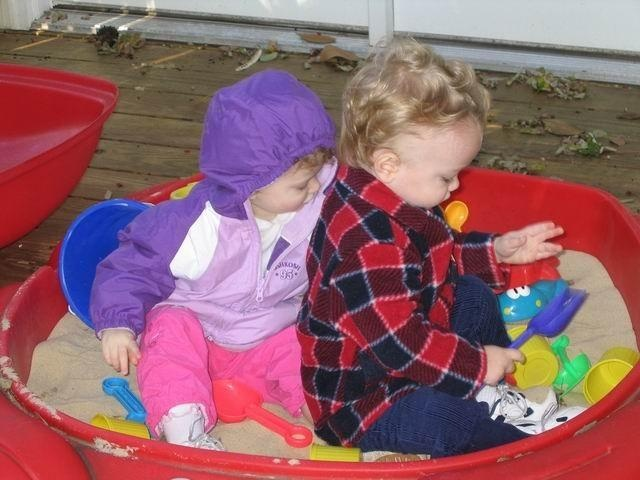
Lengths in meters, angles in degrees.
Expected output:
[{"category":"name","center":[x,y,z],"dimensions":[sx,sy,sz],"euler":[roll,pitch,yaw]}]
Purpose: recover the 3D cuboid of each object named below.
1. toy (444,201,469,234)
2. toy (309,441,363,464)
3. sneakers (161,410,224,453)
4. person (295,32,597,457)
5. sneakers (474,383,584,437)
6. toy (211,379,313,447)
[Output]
[{"category":"toy","center":[0.395,-0.067,1.744],"dimensions":[0.074,0.090,0.020],"euler":[3,15,0]},{"category":"toy","center":[0.030,0.402,1.142],"dimensions":[0.096,0.020,0.056],"euler":[4,17,-1]},{"category":"sneakers","center":[-0.265,0.378,1.226],"dimensions":[0.100,0.044,0.104],"euler":[-3,57,-11]},{"category":"person","center":[0.266,0.026,1.224],"dimensions":[0.542,0.813,0.473],"euler":[-2,20,-20]},{"category":"sneakers","center":[0.411,0.336,1.267],"dimensions":[0.263,0.079,0.107],"euler":[5,-12,15]},{"category":"toy","center":[-0.132,0.375,1.289],"dimensions":[0.096,0.040,0.262],"euler":[-25,31,-32]}]
